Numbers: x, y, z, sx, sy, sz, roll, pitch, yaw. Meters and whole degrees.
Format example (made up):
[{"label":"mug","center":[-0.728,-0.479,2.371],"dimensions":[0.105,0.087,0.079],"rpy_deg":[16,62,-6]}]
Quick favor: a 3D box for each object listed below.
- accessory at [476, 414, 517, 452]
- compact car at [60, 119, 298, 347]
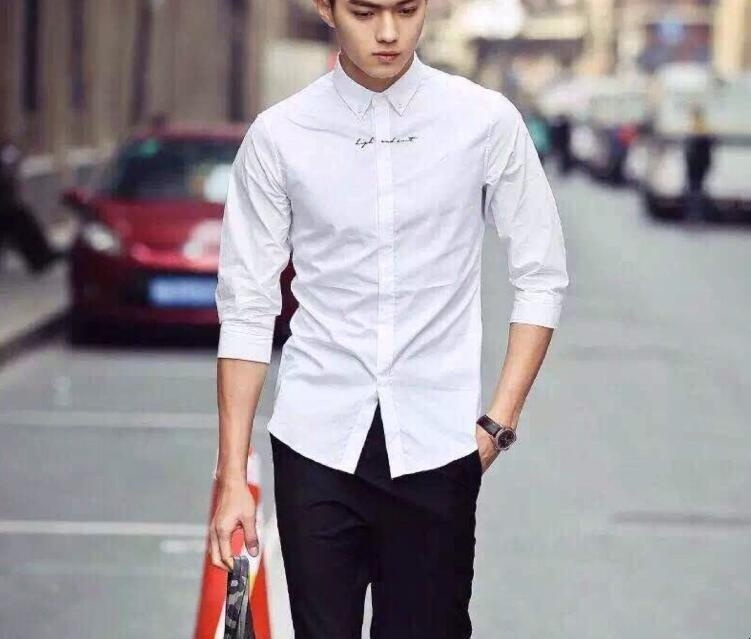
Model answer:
[{"label":"accessory","center":[0.319,0.297,3.121],"dimensions":[0.063,0.040,0.065],"rpy_deg":[43,-3,41]},{"label":"compact car","center":[-1.647,-0.707,8.654],"dimensions":[1.149,1.162,2.104],"rpy_deg":[-1,1,-5]}]
